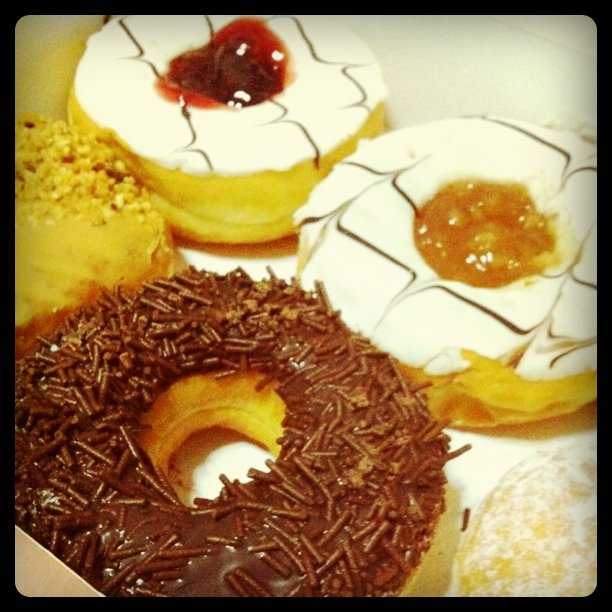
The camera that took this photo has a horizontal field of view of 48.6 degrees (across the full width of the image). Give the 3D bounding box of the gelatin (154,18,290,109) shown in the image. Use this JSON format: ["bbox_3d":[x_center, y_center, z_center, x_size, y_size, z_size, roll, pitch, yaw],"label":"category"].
[{"bbox_3d":[-0.201,-0.602,1.705,0.299,0.059,0.215,-17,85,-1],"label":"gelatin"}]

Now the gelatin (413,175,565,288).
[{"bbox_3d":[0.471,-0.187,1.718,0.395,0.273,0.175,-1,28,1],"label":"gelatin"}]
